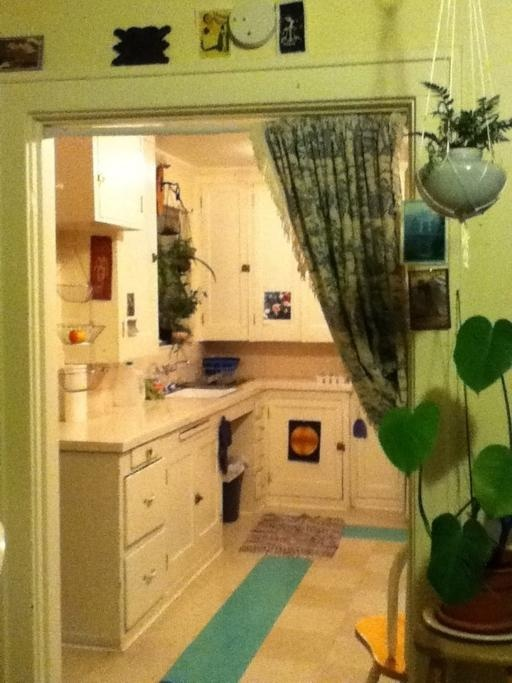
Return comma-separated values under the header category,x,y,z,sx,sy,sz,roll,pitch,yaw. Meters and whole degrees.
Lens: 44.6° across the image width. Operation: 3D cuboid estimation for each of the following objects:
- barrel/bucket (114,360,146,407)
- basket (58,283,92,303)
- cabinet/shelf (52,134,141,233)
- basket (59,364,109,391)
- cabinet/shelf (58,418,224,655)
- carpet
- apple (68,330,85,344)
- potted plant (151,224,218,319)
category,x,y,z,sx,sy,sz,roll,pitch,yaw
barrel/bucket,-0.674,0.228,3.311,0.162,0.238,0.114,-1,2,-20
basket,-0.858,-0.226,2.939,0.123,0.063,0.092,-1,1,-13
cabinet/shelf,-0.735,-0.775,2.930,0.230,0.493,0.521,0,2,12
basket,-0.835,0.168,3.031,0.173,0.139,0.440,0,2,-5
cabinet/shelf,-0.518,0.845,2.672,0.371,0.631,1.026,-2,0,10
carpet,0.248,1.202,3.898,0.563,0.035,0.729,0,2,12
apple,-0.814,-0.020,2.835,0.062,0.063,0.063,3,16,40
potted plant,-0.473,-0.432,4.243,0.197,0.512,0.392,-4,3,31
